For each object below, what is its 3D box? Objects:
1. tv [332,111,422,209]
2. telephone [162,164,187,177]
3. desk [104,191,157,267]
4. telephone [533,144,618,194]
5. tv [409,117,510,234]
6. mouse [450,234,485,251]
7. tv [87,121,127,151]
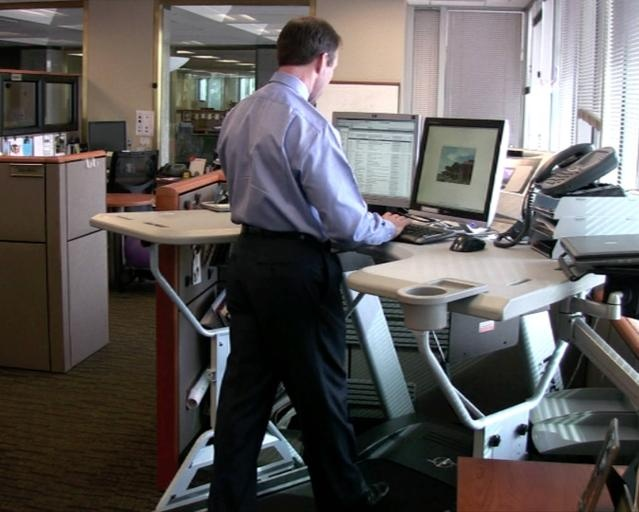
[{"bbox_3d":[0.276,-0.425,2.391,0.531,0.480,0.042,7,12,29],"label":"tv"},{"bbox_3d":[-1.505,-0.884,5.502,0.298,0.139,0.353,2,12,-4],"label":"telephone"},{"bbox_3d":[-1.754,-0.307,5.422,0.739,0.732,0.701,0,12,-9],"label":"desk"},{"bbox_3d":[0.985,-0.327,2.038,0.262,0.149,0.356,2,16,26],"label":"telephone"},{"bbox_3d":[0.575,-0.346,2.259,0.177,0.447,0.481,2,14,-42],"label":"tv"},{"bbox_3d":[0.564,-0.046,2.049,0.101,0.056,0.144,6,18,37],"label":"mouse"},{"bbox_3d":[-2.652,-1.491,6.673,0.209,0.376,0.606,-1,15,19],"label":"tv"}]
